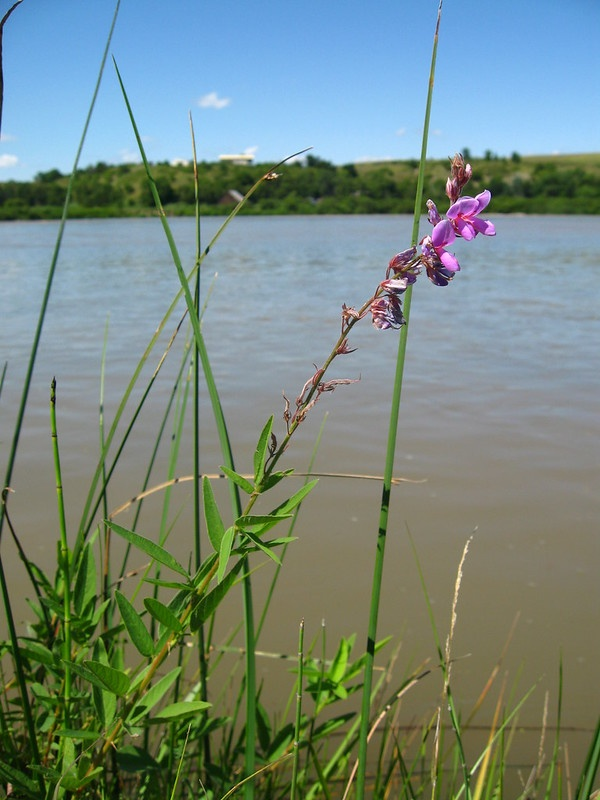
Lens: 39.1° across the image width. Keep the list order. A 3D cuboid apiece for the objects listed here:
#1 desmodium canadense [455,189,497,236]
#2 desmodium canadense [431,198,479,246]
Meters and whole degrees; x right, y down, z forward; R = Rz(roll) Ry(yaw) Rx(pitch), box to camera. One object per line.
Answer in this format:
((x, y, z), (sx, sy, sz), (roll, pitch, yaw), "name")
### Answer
((0.237, -0.287, 1.212), (0.081, 0.057, 0.098), (4, 30, 7), "desmodium canadense")
((0.219, -0.274, 1.216), (0.067, 0.068, 0.114), (3, 9, 9), "desmodium canadense")
